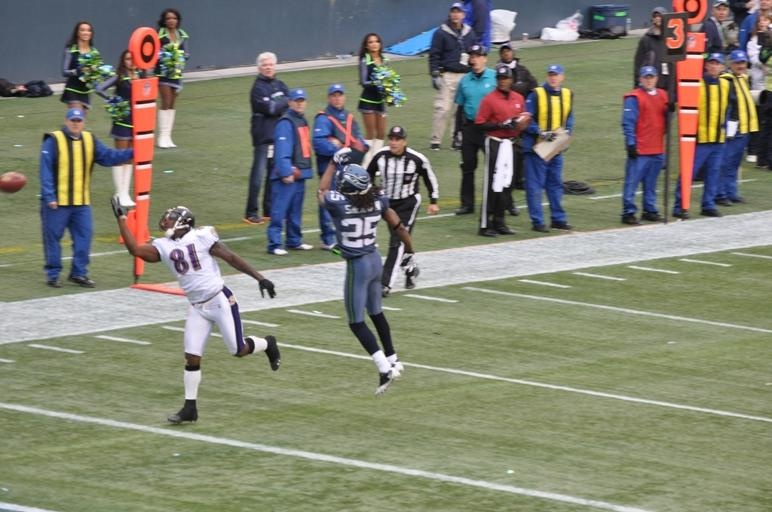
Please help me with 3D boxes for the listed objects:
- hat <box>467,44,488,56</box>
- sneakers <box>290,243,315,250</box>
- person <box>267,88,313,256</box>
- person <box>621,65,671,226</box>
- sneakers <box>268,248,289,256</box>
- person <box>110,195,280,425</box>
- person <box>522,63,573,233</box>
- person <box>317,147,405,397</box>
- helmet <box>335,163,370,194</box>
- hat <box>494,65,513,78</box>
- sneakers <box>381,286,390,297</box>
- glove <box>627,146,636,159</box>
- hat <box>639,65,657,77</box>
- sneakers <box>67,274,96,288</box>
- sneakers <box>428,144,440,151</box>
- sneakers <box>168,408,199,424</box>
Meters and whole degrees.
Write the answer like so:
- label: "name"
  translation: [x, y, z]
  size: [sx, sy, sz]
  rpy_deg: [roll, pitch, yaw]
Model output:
- label: "hat"
  translation: [1.705, -3.748, 22.301]
  size: [0.390, 0.116, 0.488]
  rpy_deg: [3, 6, 22]
- label: "sneakers"
  translation: [-1.385, -0.149, 19.998]
  size: [0.447, 0.101, 0.098]
  rpy_deg: [-1, 39, -2]
- label: "person"
  translation: [-1.600, -1.326, 19.555]
  size: [0.819, 2.662, 0.899]
  rpy_deg: [-5, 9, -4]
- label: "person"
  translation: [4.468, -1.911, 21.191]
  size: [0.876, 2.749, 1.054]
  rpy_deg: [-2, 9, 9]
- label: "sneakers"
  translation: [-1.735, -0.065, 19.692]
  size: [0.317, 0.065, 0.120]
  rpy_deg: [0, 6, 20]
- label: "person"
  translation: [-2.161, 0.656, 14.549]
  size: [1.675, 2.479, 1.247]
  rpy_deg: [-8, 10, -29]
- label: "person"
  translation: [2.751, -1.822, 20.738]
  size: [0.882, 2.845, 0.938]
  rpy_deg: [-3, 9, 5]
- label: "person"
  translation: [-0.215, 0.265, 14.982]
  size: [1.021, 2.764, 1.121]
  rpy_deg: [-4, 9, -2]
- label: "helmet"
  translation: [-0.396, -0.925, 14.926]
  size: [0.410, 0.352, 0.220]
  rpy_deg: [-2, 8, 1]
- label: "hat"
  translation: [1.966, -3.099, 20.526]
  size: [0.295, 0.111, 0.318]
  rpy_deg: [-1, 1, 13]
- label: "sneakers"
  translation: [-0.016, 0.513, 17.779]
  size: [0.103, 0.080, 0.190]
  rpy_deg: [3, -32, -3]
- label: "glove"
  translation: [4.196, -1.770, 20.855]
  size: [0.146, 0.208, 0.275]
  rpy_deg: [-1, 7, 11]
- label: "hat"
  translation: [4.485, -3.187, 20.997]
  size: [0.392, 0.117, 0.399]
  rpy_deg: [0, 4, 11]
- label: "sneakers"
  translation: [-4.513, 0.382, 18.074]
  size: [0.549, 0.131, 0.138]
  rpy_deg: [6, 22, -1]
- label: "sneakers"
  translation: [1.012, -2.286, 25.825]
  size: [0.250, 0.130, 0.443]
  rpy_deg: [1, 6, 4]
- label: "sneakers"
  translation: [-2.341, 1.867, 14.053]
  size: [0.340, 0.163, 0.168]
  rpy_deg: [-2, 7, -9]
